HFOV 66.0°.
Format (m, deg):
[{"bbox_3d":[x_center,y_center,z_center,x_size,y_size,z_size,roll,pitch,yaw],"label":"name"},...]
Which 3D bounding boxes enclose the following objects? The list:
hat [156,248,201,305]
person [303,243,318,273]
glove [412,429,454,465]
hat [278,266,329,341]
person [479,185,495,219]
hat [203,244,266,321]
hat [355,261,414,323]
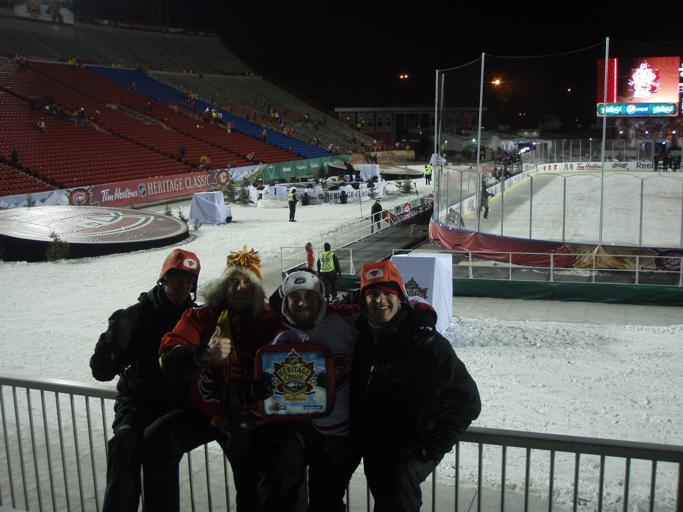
[{"bbox_3d":[-1.350,0.147,4.347,0.301,0.367,0.403,19,-25,-28],"label":"hat"},{"bbox_3d":[-1.011,0.047,16.745,0.316,1.140,0.499,5,29,12],"label":"person"},{"bbox_3d":[0.606,1.267,3.483,0.250,0.117,0.189,-7,3,-3],"label":"glove"},{"bbox_3d":[-0.275,0.310,3.620,0.323,0.409,0.433,-6,16,2],"label":"hat"},{"bbox_3d":[6.735,-2.553,24.517,0.761,2.077,0.895,-7,32,3],"label":"person"},{"bbox_3d":[-0.798,0.099,4.142,0.489,0.473,0.424,7,12,3],"label":"hat"},{"bbox_3d":[0.323,0.184,3.693,0.281,0.376,0.413,-4,-15,27],"label":"hat"}]
